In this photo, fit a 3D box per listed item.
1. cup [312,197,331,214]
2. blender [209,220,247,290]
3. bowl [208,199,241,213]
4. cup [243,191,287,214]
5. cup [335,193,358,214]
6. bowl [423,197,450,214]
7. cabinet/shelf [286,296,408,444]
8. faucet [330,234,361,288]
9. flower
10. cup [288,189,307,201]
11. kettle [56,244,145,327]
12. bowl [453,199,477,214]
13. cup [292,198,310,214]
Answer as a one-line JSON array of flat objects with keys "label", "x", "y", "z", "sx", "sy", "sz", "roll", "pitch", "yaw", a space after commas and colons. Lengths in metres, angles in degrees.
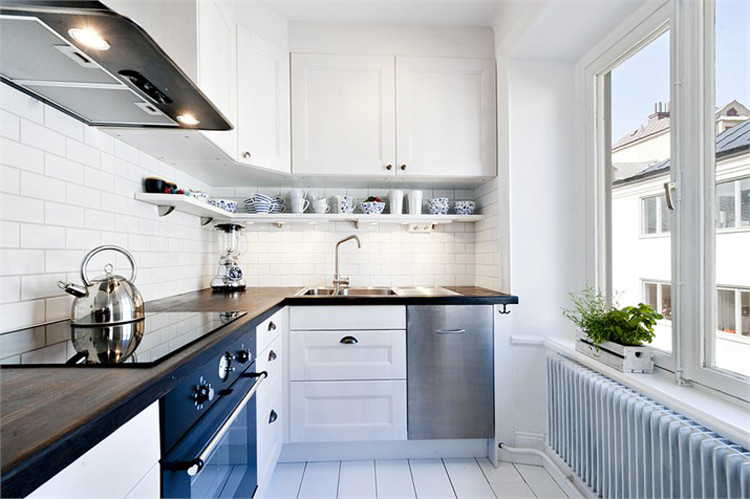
[{"label": "cup", "x": -0.363, "y": -0.297, "z": 3.550, "sx": 0.124, "sy": 0.097, "sz": 0.098, "roll": 8, "pitch": -16, "yaw": -21}, {"label": "blender", "x": -1.002, "y": 0.058, "z": 3.459, "sx": 0.211, "sy": 0.458, "sz": 0.188, "roll": -1, "pitch": 0, "yaw": -16}, {"label": "bowl", "x": -1.004, "y": -0.287, "z": 3.351, "sx": 0.084, "sy": 0.087, "sz": 0.282, "roll": -1, "pitch": 0, "yaw": 12}, {"label": "cup", "x": -0.767, "y": -0.321, "z": 3.577, "sx": 0.239, "sy": 0.144, "sz": 0.261, "roll": -1, "pitch": 0, "yaw": 0}, {"label": "cup", "x": -0.205, "y": -0.320, "z": 3.573, "sx": 0.153, "sy": 0.109, "sz": 0.116, "roll": 1, "pitch": -4, "yaw": -12}, {"label": "bowl", "x": 0.423, "y": -0.291, "z": 3.616, "sx": 0.150, "sy": 0.095, "sz": 0.142, "roll": -3, "pitch": -3, "yaw": 0}, {"label": "cabinet/shelf", "x": -0.141, "y": 0.743, "z": 3.480, "sx": 1.022, "sy": 1.146, "sz": 0.760, "roll": 0, "pitch": -7, "yaw": -3}, {"label": "faucet", "x": -0.203, "y": 0.099, "z": 3.660, "sx": 0.208, "sy": 0.376, "sz": 0.185, "roll": -1, "pitch": 0, "yaw": -5}, {"label": "flower", "x": 1.340, "y": 0.412, "z": 2.823, "sx": 0.471, "sy": 0.280, "sz": 0.585, "roll": 4, "pitch": -9, "yaw": -7}, {"label": "cup", "x": -0.535, "y": -0.358, "z": 3.494, "sx": 0.103, "sy": 0.132, "sz": 0.079, "roll": -1, "pitch": 0, "yaw": -18}, {"label": "kettle", "x": -1.224, "y": 0.172, "z": 2.373, "sx": 0.434, "sy": 0.405, "sz": 0.295, "roll": 1, "pitch": 0, "yaw": -42}, {"label": "bowl", "x": 0.624, "y": -0.292, "z": 3.634, "sx": 0.120, "sy": 0.076, "sz": 0.119, "roll": 0, "pitch": -5, "yaw": 0}, {"label": "cup", "x": -0.511, "y": -0.289, "z": 3.539, "sx": 0.133, "sy": 0.108, "sz": 0.085, "roll": 6, "pitch": -12, "yaw": -17}]
